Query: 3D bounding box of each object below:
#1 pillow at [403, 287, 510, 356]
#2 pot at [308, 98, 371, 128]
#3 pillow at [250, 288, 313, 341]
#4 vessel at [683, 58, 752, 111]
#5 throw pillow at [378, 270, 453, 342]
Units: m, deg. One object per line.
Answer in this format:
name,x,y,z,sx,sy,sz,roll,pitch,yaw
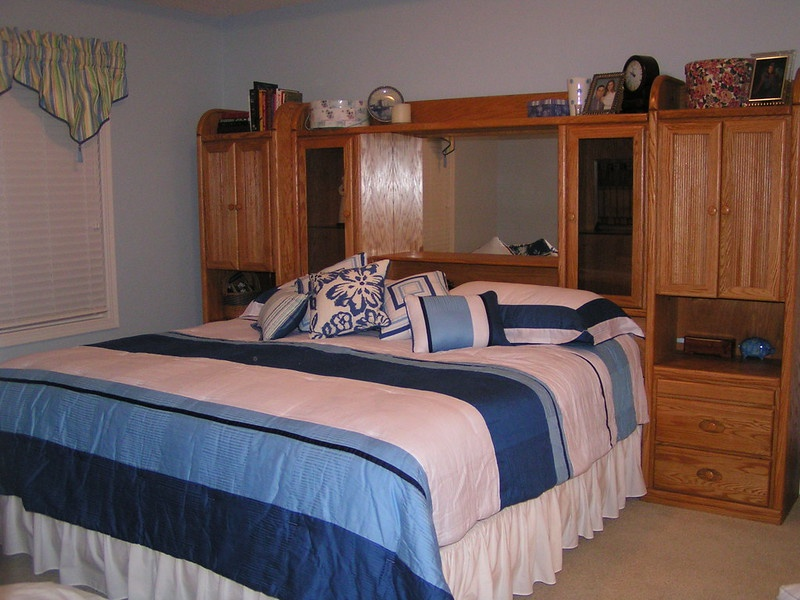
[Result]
pillow,0.209,0.084,3.422,0.163,0.355,0.562,-26,-9,27
pot,-0.392,-1.171,4.231,0.241,0.107,0.237,0,8,0
pillow,-0.607,0.048,3.589,0.349,0.199,0.105,8,-5,27
vessel,1.539,-1.053,3.250,0.292,0.233,0.121,6,15,25
throw pillow,0.070,0.002,3.562,0.349,0.111,0.375,-17,30,-7
